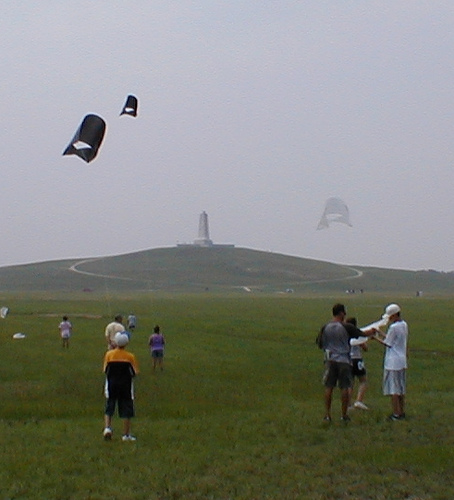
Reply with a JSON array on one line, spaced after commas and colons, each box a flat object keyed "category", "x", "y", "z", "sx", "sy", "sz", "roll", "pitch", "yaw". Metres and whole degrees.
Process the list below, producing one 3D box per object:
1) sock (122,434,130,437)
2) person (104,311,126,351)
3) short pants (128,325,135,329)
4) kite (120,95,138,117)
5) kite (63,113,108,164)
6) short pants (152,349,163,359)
[{"category": "sock", "x": -2.374, "y": 4.355, "z": 16.194, "sx": 0.197, "sy": 0.075, "sz": 0.146, "roll": -1, "pitch": -2, "yaw": -13}, {"category": "person", "x": -3.695, "y": 3.001, "z": 22.949, "sx": 0.655, "sy": 1.706, "sz": 0.549, "roll": 7, "pitch": 14, "yaw": 8}, {"category": "short pants", "x": -5.703, "y": 4.596, "z": 41.293, "sx": 0.320, "sy": 0.244, "sz": 0.451, "roll": 0, "pitch": -9, "yaw": -27}, {"category": "kite", "x": -2.937, "y": -4.371, "z": 20.768, "sx": 0.416, "sy": 0.792, "sz": 1.494, "roll": 0, "pitch": -1, "yaw": -10}, {"category": "kite", "x": -4.017, "y": -3.187, "z": 19.822, "sx": 0.999, "sy": 1.029, "sz": 0.999, "roll": 0, "pitch": -1, "yaw": -24}, {"category": "short pants", "x": -2.505, "y": 3.749, "z": 25.023, "sx": 0.455, "sy": 0.274, "sz": 0.448, "roll": 0, "pitch": -31, "yaw": -5}]
